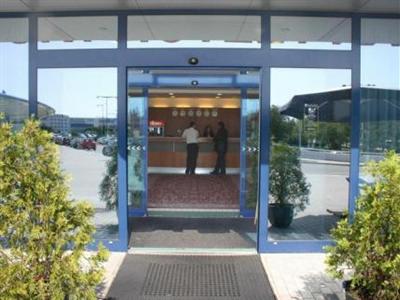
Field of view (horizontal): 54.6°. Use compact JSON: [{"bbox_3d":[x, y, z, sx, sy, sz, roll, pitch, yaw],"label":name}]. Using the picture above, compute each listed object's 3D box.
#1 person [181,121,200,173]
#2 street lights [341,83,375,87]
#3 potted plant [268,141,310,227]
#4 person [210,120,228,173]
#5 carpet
[{"bbox_3d":[-0.342,-0.002,13.689,0.530,1.612,0.389,0,8,0],"label":"person"},{"bbox_3d":[2.468,-1.031,6.073,0.549,0.046,0.063,-1,10,-10],"label":"street lights"},{"bbox_3d":[1.385,0.644,6.285,0.598,1.057,0.726,4,-5,-9],"label":"potted plant"},{"bbox_3d":[0.675,-0.089,13.499,0.512,1.841,0.255,1,8,3],"label":"person"},{"bbox_3d":[-0.164,1.068,10.678,2.594,0.424,4.627,0,10,-4],"label":"carpet"}]
